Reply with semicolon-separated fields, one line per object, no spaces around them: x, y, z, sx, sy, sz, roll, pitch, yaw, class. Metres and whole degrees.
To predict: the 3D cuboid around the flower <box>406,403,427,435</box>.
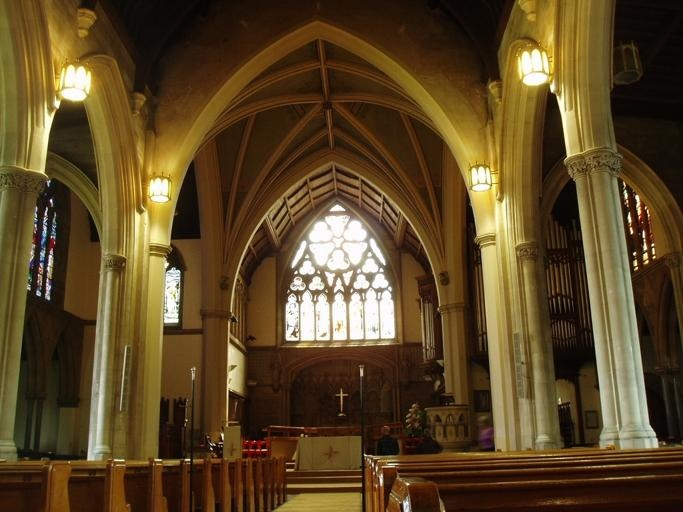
2.181;4.912;18.590;0.626;0.968;1.081;-6;-19;5;flower

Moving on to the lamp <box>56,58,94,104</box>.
-3.775;-2.555;9.064;0.481;0.552;0.469;-7;-11;33;lamp

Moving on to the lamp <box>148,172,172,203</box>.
-3.371;-1.220;11.492;0.424;0.483;0.441;-11;-15;27;lamp

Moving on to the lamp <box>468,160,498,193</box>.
2.577;-1.466;11.427;0.357;0.402;0.600;-2;-20;5;lamp

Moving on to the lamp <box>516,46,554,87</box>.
2.697;-2.647;8.758;0.470;0.494;0.465;10;-22;-43;lamp

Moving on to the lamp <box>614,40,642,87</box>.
4.461;-3.052;9.881;0.402;0.485;0.551;-13;-20;23;lamp
